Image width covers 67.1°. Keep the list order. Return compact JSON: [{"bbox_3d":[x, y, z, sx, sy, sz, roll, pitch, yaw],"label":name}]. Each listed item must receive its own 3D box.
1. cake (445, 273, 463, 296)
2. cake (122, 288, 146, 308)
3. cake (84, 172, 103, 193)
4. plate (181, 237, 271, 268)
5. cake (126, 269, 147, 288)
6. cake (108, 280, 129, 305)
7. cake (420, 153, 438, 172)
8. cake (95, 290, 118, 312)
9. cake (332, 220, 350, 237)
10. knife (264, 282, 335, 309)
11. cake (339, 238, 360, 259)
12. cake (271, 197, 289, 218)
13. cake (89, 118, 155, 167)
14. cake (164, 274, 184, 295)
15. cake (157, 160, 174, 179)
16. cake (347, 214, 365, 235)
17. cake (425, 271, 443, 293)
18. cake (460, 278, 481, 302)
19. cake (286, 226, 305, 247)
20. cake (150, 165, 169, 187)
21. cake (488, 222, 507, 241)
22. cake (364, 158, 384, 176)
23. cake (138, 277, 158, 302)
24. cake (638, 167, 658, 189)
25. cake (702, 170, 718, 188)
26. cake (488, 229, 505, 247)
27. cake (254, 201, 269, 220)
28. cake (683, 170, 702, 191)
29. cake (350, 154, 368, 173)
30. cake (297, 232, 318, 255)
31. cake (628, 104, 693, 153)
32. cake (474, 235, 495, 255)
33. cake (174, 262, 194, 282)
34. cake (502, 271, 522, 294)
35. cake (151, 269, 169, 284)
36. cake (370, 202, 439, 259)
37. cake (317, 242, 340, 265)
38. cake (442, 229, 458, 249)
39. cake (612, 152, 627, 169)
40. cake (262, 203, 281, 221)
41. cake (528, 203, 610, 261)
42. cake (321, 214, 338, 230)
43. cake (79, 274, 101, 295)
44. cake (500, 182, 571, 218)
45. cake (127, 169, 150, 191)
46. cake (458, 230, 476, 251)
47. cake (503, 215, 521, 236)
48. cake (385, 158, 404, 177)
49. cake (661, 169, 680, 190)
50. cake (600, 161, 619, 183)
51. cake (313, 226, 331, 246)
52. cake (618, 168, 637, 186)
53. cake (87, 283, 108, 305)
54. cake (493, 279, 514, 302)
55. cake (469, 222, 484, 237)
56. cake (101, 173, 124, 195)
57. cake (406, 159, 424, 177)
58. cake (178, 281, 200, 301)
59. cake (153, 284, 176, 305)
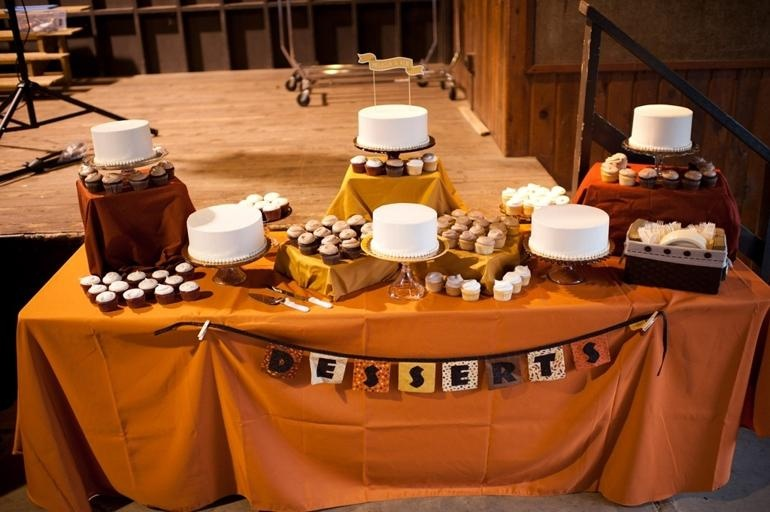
[{"bbox_3d":[0.308,0.132,2.680,0.082,0.086,0.088,0,22,1],"label":"cake"},{"bbox_3d":[-1.114,0.183,2.585,0.090,0.072,0.086,11,28,14],"label":"cake"},{"bbox_3d":[-1.389,-0.353,2.769,0.089,0.066,0.086,0,23,-6],"label":"cake"},{"bbox_3d":[-0.714,-0.003,2.700,0.400,0.098,0.196,-8,22,-15],"label":"plate"},{"bbox_3d":[-1.131,0.100,2.687,0.085,0.072,0.080,2,18,4],"label":"cake"},{"bbox_3d":[-1.192,0.169,2.631,0.099,0.075,0.093,-1,0,3],"label":"cake"},{"bbox_3d":[0.229,-0.483,2.993,0.091,0.072,0.092,3,33,11],"label":"cake"},{"bbox_3d":[-1.240,0.198,2.593,0.087,0.075,0.079,-14,25,-26],"label":"cake"},{"bbox_3d":[-0.214,-0.135,2.782,0.068,0.020,0.069,-18,30,-18],"label":"cake"},{"bbox_3d":[-0.386,0.181,2.659,0.322,0.015,0.047,15,31,24],"label":"knife"},{"bbox_3d":[-0.164,-0.040,2.679,0.099,0.077,0.088,0,37,0],"label":"cake"},{"bbox_3d":[-0.537,-0.250,3.053,0.110,0.092,0.101,-1,34,0],"label":"cake"},{"bbox_3d":[-1.359,-0.576,2.948,0.328,0.181,0.311,7,23,13],"label":"cake"},{"bbox_3d":[-0.965,0.126,2.691,0.081,0.072,0.077,1,29,-2],"label":"cake"},{"bbox_3d":[-1.087,-0.444,2.926,0.073,0.087,0.098,-20,33,-41],"label":"cake"},{"bbox_3d":[-0.150,-0.162,2.819,0.083,0.035,0.099,9,44,8],"label":"cake"},{"bbox_3d":[0.226,0.121,2.707,0.090,0.079,0.084,2,32,7],"label":"cake"},{"bbox_3d":[0.386,0.150,2.649,0.096,0.080,0.090,0,16,4],"label":"cake"},{"bbox_3d":[-0.430,-0.098,2.858,0.097,0.088,0.092,-1,34,-3],"label":"cake"},{"bbox_3d":[-1.107,-0.397,2.839,0.091,0.082,0.089,-7,26,-18],"label":"cake"},{"bbox_3d":[0.530,-0.121,2.761,0.090,0.075,0.083,-2,30,3],"label":"cake"},{"bbox_3d":[-0.054,-0.459,2.982,0.093,0.065,0.089,-2,30,-9],"label":"cake"},{"bbox_3d":[-1.060,0.148,2.673,0.101,0.092,0.090,0,24,1],"label":"cake"},{"bbox_3d":[1.299,-0.393,2.883,0.102,0.088,0.094,-4,24,4],"label":"cake"},{"bbox_3d":[1.616,-0.392,2.884,0.098,0.081,0.047,-13,25,-24],"label":"cake"},{"bbox_3d":[0.532,-0.088,2.790,0.088,0.079,0.082,-2,25,2],"label":"cake"},{"bbox_3d":[-0.651,-0.239,3.056,0.102,0.102,0.106,-5,16,-5],"label":"cake"},{"bbox_3d":[1.504,-0.380,2.850,0.092,0.081,0.086,-2,31,8],"label":"cake"},{"bbox_3d":[-0.137,-0.490,3.072,0.093,0.079,0.085,0,34,2],"label":"cake"},{"bbox_3d":[-0.362,-0.062,2.779,0.099,0.087,0.093,1,28,0],"label":"cake"},{"bbox_3d":[1.467,-0.682,3.039,0.337,0.189,0.319,-1,28,9],"label":"cake"},{"bbox_3d":[0.461,-0.051,2.741,0.087,0.071,0.086,24,38,30],"label":"cake"},{"bbox_3d":[-0.949,0.064,2.799,0.086,0.074,0.086,27,40,27],"label":"cake"},{"bbox_3d":[0.584,0.113,2.678,0.094,0.091,0.094,-4,19,0],"label":"cake"},{"bbox_3d":[-1.052,0.091,2.719,0.075,0.060,0.069,-8,32,-12],"label":"cake"},{"bbox_3d":[0.088,-0.107,2.572,0.270,0.141,0.257,-19,34,-29],"label":"cake"},{"bbox_3d":[-0.254,-0.018,2.644,0.087,0.066,0.097,-1,22,-4],"label":"cake"},{"bbox_3d":[0.303,-0.084,2.787,0.087,0.075,0.081,0,18,3],"label":"cake"},{"bbox_3d":[1.220,-0.509,3.017,0.081,0.085,0.091,12,38,24],"label":"cake"},{"bbox_3d":[-0.581,-0.229,3.037,0.101,0.084,0.092,3,38,8],"label":"cake"},{"bbox_3d":[0.847,-0.113,2.676,0.368,0.199,0.267,1,22,8],"label":"cake"},{"bbox_3d":[-0.270,-0.178,2.878,0.076,0.035,0.070,3,36,10],"label":"cake"},{"bbox_3d":[-1.370,0.124,2.720,0.092,0.058,0.085,1,23,-1],"label":"cake"},{"bbox_3d":[0.789,-0.301,3.098,0.296,0.101,0.298,2,24,10],"label":"cake"},{"bbox_3d":[-1.183,-0.379,2.823,0.102,0.083,0.098,-1,34,-5],"label":"cake"},{"bbox_3d":[0.384,-0.078,2.729,0.089,0.077,0.083,0,19,-7],"label":"cake"},{"bbox_3d":[0.616,-0.155,2.881,0.096,0.085,0.090,-1,12,5],"label":"cake"},{"bbox_3d":[0.048,-0.454,2.967,0.095,0.064,0.088,-4,30,-8],"label":"cake"},{"bbox_3d":[1.405,-0.384,2.916,0.101,0.088,0.092,-4,31,0],"label":"cake"},{"bbox_3d":[1.147,-0.435,2.974,0.086,0.093,0.107,-1,22,5],"label":"cake"},{"bbox_3d":[-0.299,-0.102,2.751,0.082,0.024,0.074,-8,52,-6],"label":"cake"},{"bbox_3d":[1.209,-0.395,2.907,0.089,0.070,0.082,-1,28,3],"label":"cake"},{"bbox_3d":[-1.291,0.167,2.606,0.102,0.091,0.094,-3,27,-13],"label":"cake"},{"bbox_3d":[0.522,0.152,2.603,0.069,0.081,0.071,-18,27,-33],"label":"cake"},{"bbox_3d":[0.436,-0.126,2.764,0.067,0.035,0.063,-21,36,-19],"label":"cake"},{"bbox_3d":[-1.285,-0.351,2.781,0.103,0.078,0.095,3,30,-1],"label":"cake"},{"bbox_3d":[0.149,-0.458,2.969,0.095,0.062,0.082,4,30,6],"label":"cake"},{"bbox_3d":[-0.889,0.154,2.645,0.081,0.076,0.074,-16,26,-30],"label":"cake"},{"bbox_3d":[-0.990,0.170,2.667,0.095,0.077,0.089,8,30,13],"label":"cake"}]
